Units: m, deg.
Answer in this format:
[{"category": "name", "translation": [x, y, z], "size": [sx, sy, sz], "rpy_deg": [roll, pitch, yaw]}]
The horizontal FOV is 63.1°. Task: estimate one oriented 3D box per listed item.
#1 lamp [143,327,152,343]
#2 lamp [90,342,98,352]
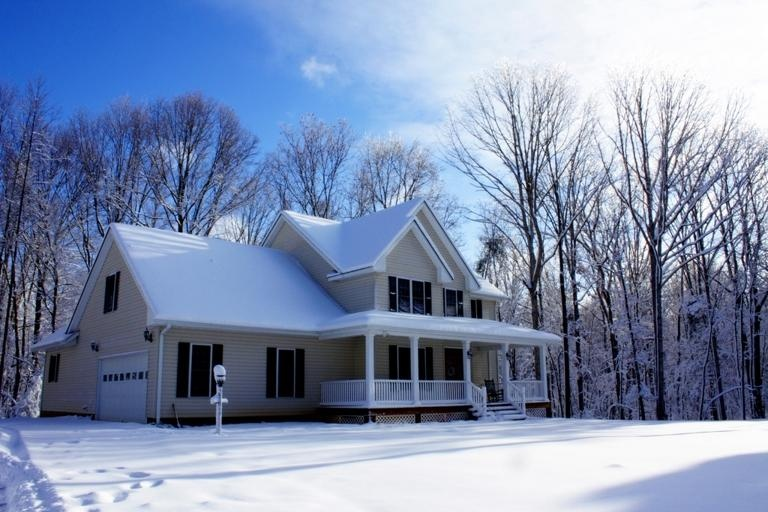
[{"category": "lamp", "translation": [-9.948, 3.346, 26.254], "size": [0.270, 0.590, 0.730], "rpy_deg": [11, -20, -43]}, {"category": "lamp", "translation": [-13.780, 4.333, 29.716], "size": [0.373, 0.476, 0.330], "rpy_deg": [-5, -19, 12]}]
